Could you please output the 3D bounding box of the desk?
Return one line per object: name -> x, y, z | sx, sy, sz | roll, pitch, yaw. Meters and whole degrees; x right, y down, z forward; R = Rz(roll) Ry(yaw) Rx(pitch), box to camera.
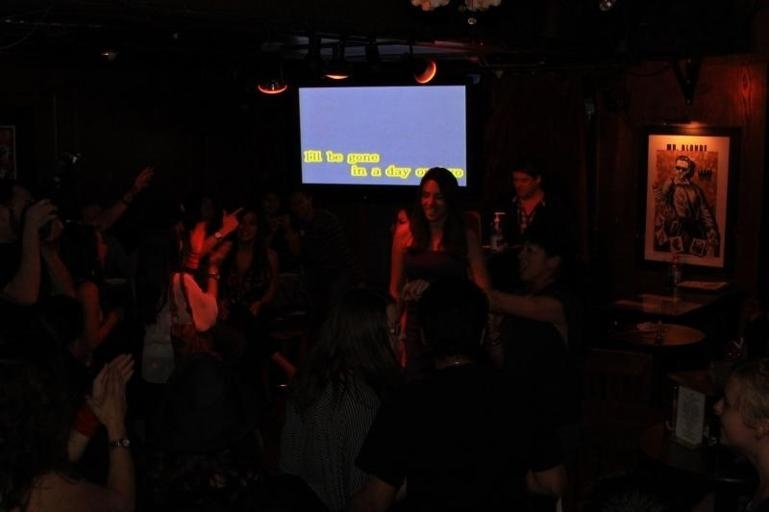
desk -> 2.514, 0.507, 5.668 | 0.863, 0.616, 0.841 | -1, -10, 37
